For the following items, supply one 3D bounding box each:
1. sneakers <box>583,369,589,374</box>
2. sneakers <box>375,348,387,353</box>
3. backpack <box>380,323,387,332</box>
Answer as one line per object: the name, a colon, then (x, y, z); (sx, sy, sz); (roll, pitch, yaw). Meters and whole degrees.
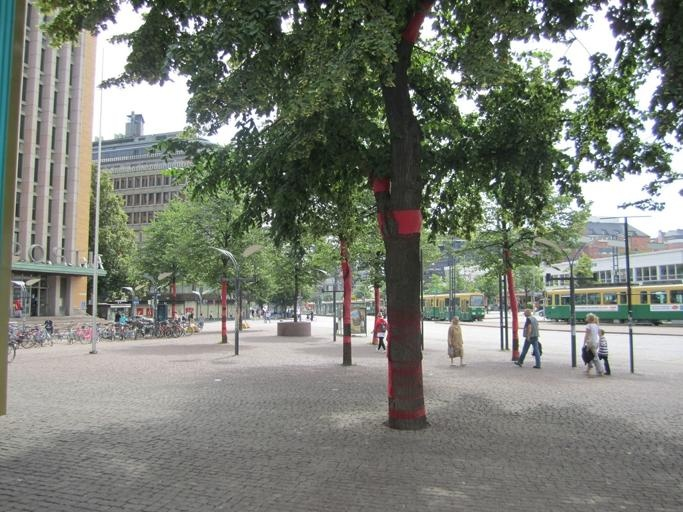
sneakers: (7.489, 3.527, 20.195); (0.087, 0.166, 0.236); (6, 1, -15)
sneakers: (1.666, 3.950, 27.535); (0.356, 0.126, 0.186); (-1, 13, -33)
backpack: (1.649, 2.912, 26.899); (0.334, 0.474, 0.256); (1, -5, -22)
